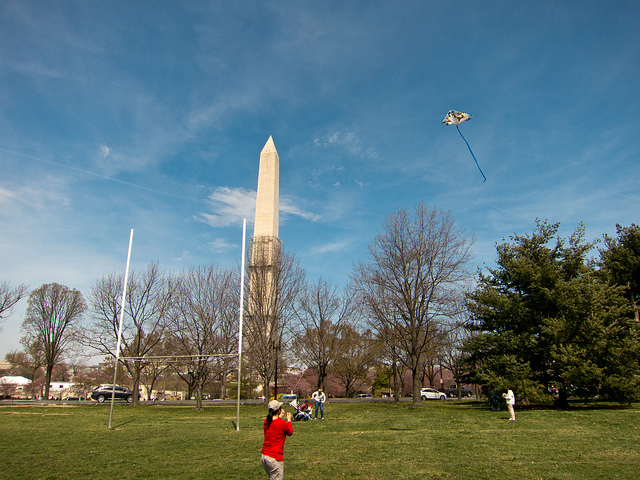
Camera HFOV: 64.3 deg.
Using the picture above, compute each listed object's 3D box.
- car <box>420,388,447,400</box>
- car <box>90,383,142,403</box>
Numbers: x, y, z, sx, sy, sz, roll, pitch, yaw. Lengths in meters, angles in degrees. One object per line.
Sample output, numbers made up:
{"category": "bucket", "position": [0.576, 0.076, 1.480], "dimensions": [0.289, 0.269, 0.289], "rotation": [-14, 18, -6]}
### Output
{"category": "car", "position": [12.971, 17.691, 58.401], "dimensions": [2.477, 1.346, 2.536], "rotation": [-7, -20, 14]}
{"category": "car", "position": [-20.772, 15.409, 51.140], "dimensions": [3.335, 1.881, 3.898], "rotation": [4, -20, -15]}
